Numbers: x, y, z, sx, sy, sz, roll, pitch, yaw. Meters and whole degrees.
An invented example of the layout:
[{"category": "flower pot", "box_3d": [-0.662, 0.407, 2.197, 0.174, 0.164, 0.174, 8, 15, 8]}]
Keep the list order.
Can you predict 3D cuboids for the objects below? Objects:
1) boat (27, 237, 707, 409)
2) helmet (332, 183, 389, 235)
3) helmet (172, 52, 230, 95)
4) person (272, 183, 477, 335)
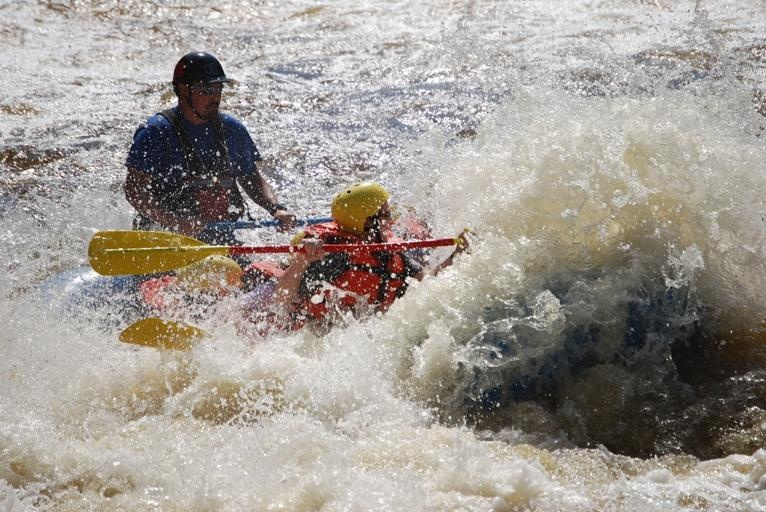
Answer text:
[{"category": "boat", "box_3d": [-0.758, 0.706, 11.126, 4.217, 0.601, 2.104, 0, 44, -6]}, {"category": "helmet", "box_3d": [-0.230, -0.462, 10.704, 0.626, 0.441, 0.461, -11, 16, -15]}, {"category": "helmet", "box_3d": [-1.811, -1.898, 11.356, 0.668, 0.313, 0.496, 14, 20, 32]}, {"category": "person", "box_3d": [-0.165, 0.140, 10.821, 1.945, 0.771, 0.818, -2, 1, 28]}]
